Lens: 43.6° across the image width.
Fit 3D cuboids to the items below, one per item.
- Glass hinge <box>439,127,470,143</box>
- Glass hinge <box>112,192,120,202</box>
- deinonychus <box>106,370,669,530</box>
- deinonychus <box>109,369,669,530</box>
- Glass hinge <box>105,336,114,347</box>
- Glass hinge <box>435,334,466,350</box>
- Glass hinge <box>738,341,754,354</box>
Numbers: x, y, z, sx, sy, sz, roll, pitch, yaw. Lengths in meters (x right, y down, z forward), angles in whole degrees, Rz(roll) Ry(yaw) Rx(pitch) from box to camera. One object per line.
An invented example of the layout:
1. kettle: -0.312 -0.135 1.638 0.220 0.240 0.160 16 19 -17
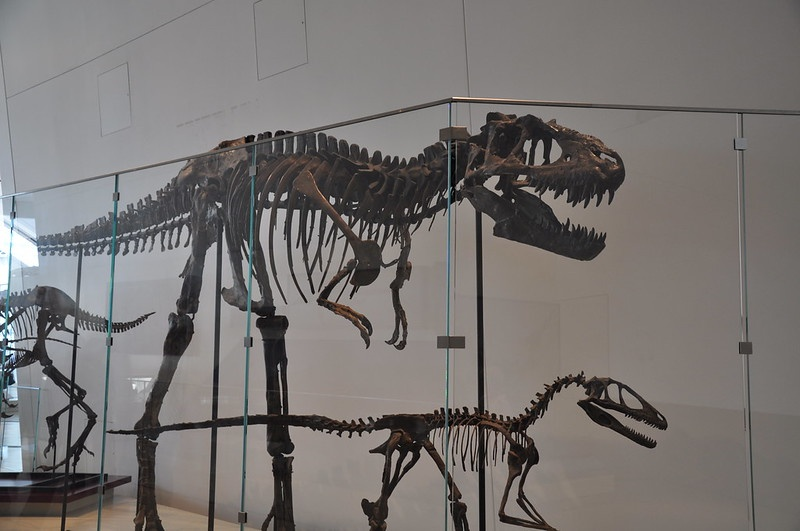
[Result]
1. Glass hinge: 0.337 -0.807 6.202 0.189 0.093 0.031 -1 -14 5
2. Glass hinge: -2.024 -0.481 7.141 0.067 0.069 0.024 -2 -5 36
3. deinonychus: -0.046 1.179 6.788 3.799 1.373 0.911 0 -5 4
4. deinonychus: -0.387 1.252 6.799 3.958 1.407 0.905 0 -5 4
5. Glass hinge: -2.042 0.544 7.036 0.044 0.080 0.073 2 6 11
6. Glass hinge: 0.314 0.480 6.130 0.177 0.081 0.040 2 -5 1
7. Glass hinge: 2.187 0.529 6.330 0.100 0.079 0.025 6 -15 -18
